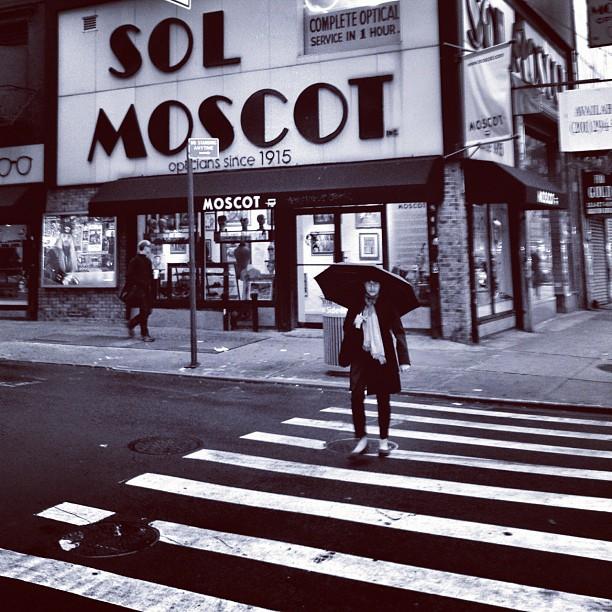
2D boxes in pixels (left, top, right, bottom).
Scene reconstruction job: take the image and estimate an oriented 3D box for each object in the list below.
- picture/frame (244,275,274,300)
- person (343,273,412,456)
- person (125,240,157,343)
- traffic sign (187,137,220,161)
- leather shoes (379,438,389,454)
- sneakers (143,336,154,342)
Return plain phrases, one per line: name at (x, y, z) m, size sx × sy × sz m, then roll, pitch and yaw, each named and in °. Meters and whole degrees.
picture/frame at (-1.086, -0.409, 16.582) m, size 0.747 × 0.642 × 0.448 m, roll 0°, pitch -2°, yaw 15°
person at (0.653, 0.584, 6.991) m, size 0.665 × 1.717 × 0.328 m, roll 0°, pitch 1°, yaw 3°
person at (-3.546, -0.312, 15.133) m, size 0.578 × 2.106 × 0.656 m, roll 0°, pitch 1°, yaw -15°
traffic sign at (-1.693, -2.539, 11.785) m, size 0.447 × 0.329 × 0.466 m, roll 0°, pitch 2°, yaw -3°
leather shoes at (0.755, 1.362, 6.984) m, size 0.098 × 0.142 × 0.191 m, roll 0°, pitch 2°, yaw 9°
sneakers at (-3.320, 0.698, 15.071) m, size 0.196 × 0.108 × 0.086 m, roll -1°, pitch 5°, yaw 4°
